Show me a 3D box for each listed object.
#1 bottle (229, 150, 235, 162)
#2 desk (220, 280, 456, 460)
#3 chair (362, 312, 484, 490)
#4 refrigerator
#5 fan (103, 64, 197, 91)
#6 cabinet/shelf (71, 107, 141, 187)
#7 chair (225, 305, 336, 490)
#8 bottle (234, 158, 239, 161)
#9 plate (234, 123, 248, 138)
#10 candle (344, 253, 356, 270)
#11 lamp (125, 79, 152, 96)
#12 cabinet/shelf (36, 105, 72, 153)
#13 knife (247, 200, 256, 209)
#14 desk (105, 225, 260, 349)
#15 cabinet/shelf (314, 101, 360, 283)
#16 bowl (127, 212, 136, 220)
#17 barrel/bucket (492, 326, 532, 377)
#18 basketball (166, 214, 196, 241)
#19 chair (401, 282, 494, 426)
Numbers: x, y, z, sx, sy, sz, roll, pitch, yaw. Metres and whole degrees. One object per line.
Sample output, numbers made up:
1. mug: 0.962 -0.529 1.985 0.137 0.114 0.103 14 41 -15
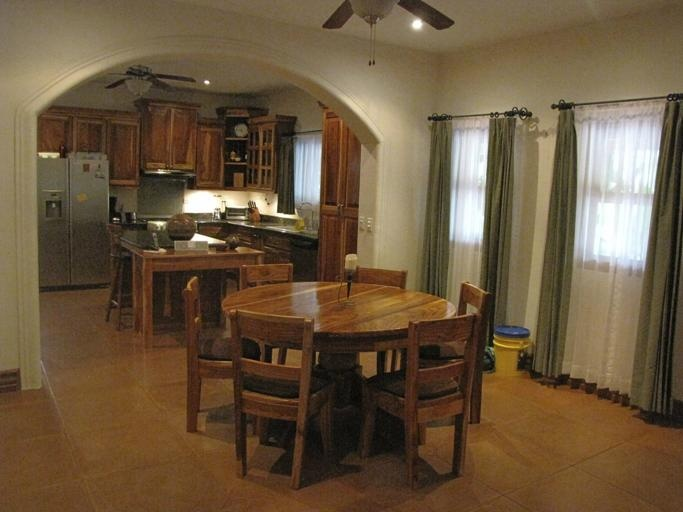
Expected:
1. bottle: -1.783 -1.646 9.159 0.093 0.134 0.048 5 -1 -20
2. desk: -0.022 0.806 3.785 1.123 0.424 1.131 -1 3 -17
3. chair: 0.486 0.875 3.631 0.702 1.082 0.486 6 14 15
4. refrigerator: -3.766 -0.496 7.852 0.971 1.869 0.344 -4 15 -23
5. fan: -2.147 -2.034 6.281 0.638 0.230 0.956 -7 16 -32
6. cabinet/shelf: -3.471 -1.615 8.121 1.105 1.333 0.534 -3 17 -22
7. chair: -0.370 0.889 3.708 0.686 1.028 0.685 2 4 -3
8. bottle: -1.728 -1.595 9.169 0.050 0.048 0.012 2 -6 -20
9. plate: -1.639 -2.059 9.107 0.207 0.225 0.070 1 14 -4
10. candle: 0.078 0.035 3.899 0.092 0.099 0.093 3 -4 -29
11. lamp: -2.264 -1.895 6.235 0.270 0.125 0.273 -3 9 -12
12. cabinet/shelf: -4.040 -1.779 7.850 0.457 0.622 0.130 -6 16 -28
13. knife: -1.529 -0.870 9.491 0.130 0.146 0.038 -4 -23 7
14. desk: -1.648 0.134 5.946 1.064 0.790 1.466 -1 6 -24
15. cabinet/shelf: -0.064 -0.725 6.860 0.326 2.135 1.100 -3 15 -20
16. bowl: -3.195 -0.603 8.460 0.136 0.110 0.139 2 14 0
17. barrel/bucket: 1.562 0.853 5.245 0.426 0.434 0.381 -1 3 -37
18. basketball: -1.670 -0.290 5.875 0.271 0.301 0.276 6 4 25
19. chair: 0.817 0.572 4.095 0.497 0.696 0.487 7 4 14
